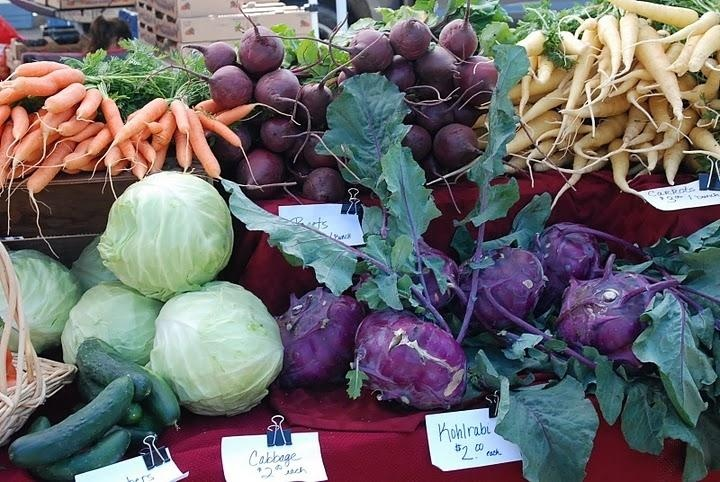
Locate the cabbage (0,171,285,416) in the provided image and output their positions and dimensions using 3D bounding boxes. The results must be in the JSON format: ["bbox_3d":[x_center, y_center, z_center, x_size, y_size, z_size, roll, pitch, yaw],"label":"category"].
[{"bbox_3d":[-0.860,0.248,2.514,0.825,0.569,1.146,-16,72,-23],"label":"cabbage"}]
